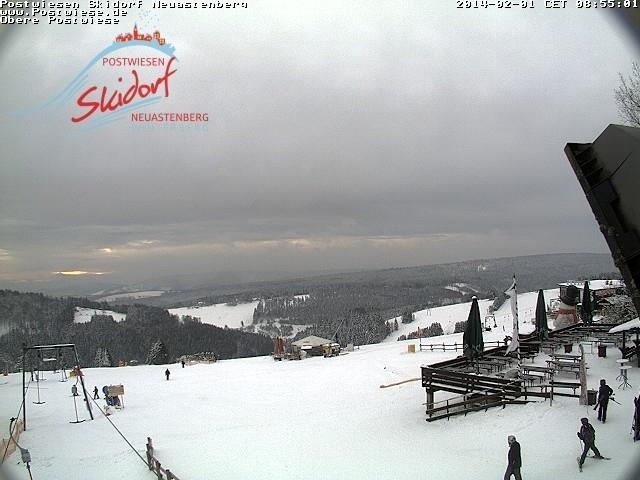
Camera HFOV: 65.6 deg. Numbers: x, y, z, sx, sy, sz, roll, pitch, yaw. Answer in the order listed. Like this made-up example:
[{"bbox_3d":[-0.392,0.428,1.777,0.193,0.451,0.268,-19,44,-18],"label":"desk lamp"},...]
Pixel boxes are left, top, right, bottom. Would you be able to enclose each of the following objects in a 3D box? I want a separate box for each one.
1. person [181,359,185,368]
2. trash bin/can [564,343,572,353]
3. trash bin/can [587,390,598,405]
[{"bbox_3d":[-15.953,14.450,57.915,0.524,1.416,0.403,-6,33,-10],"label":"person"},{"bbox_3d":[17.604,7.585,34.855,0.531,0.580,0.545,-5,-12,20],"label":"trash bin/can"},{"bbox_3d":[14.165,8.173,25.837,0.554,0.506,0.656,-3,-3,11],"label":"trash bin/can"}]
